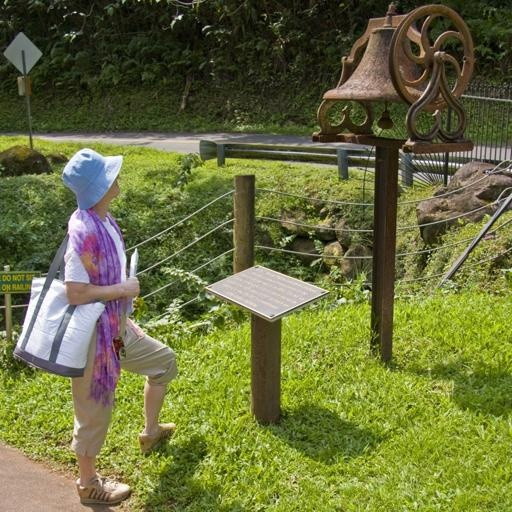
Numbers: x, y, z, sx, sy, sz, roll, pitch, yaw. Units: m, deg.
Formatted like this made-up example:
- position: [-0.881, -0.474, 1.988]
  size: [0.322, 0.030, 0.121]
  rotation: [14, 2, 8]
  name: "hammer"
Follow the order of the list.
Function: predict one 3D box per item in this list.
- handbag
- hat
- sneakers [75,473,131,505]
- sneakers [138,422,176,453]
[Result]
- position: [-1.111, 0.385, 3.776]
  size: [0.481, 0.486, 0.284]
  rotation: [6, 14, 28]
  name: "handbag"
- position: [-0.903, -0.438, 3.878]
  size: [0.352, 0.330, 0.205]
  rotation: [-6, 13, -24]
  name: "hat"
- position: [-0.876, 1.358, 4.039]
  size: [0.311, 0.144, 0.147]
  rotation: [-1, 8, 0]
  name: "sneakers"
- position: [-0.607, 1.127, 4.376]
  size: [0.098, 0.105, 0.278]
  rotation: [11, 26, 38]
  name: "sneakers"
